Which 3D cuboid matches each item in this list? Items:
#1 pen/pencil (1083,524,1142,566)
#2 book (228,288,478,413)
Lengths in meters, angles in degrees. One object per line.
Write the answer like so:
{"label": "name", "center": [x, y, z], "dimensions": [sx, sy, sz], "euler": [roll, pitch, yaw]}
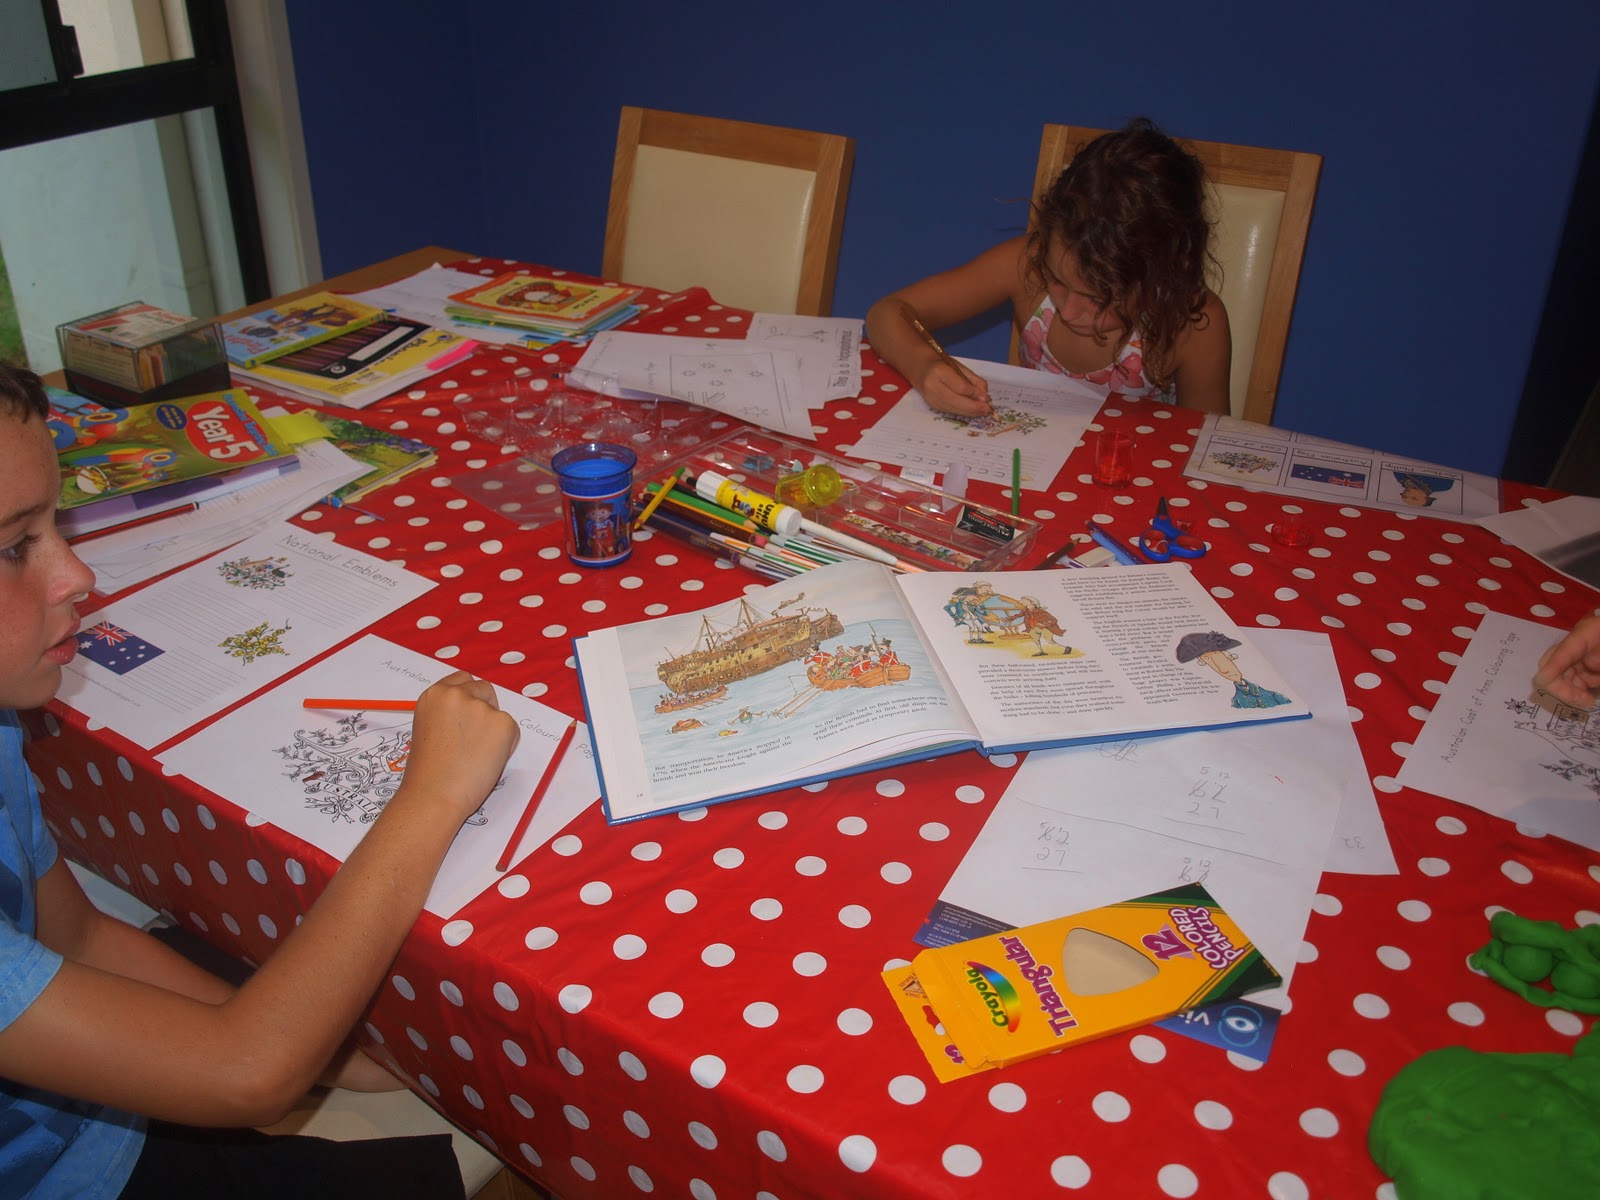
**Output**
{"label": "pen/pencil", "center": [0.375, -0.067, 1.274], "dimensions": [0.023, 0.016, 0.075], "euler": [-10, 33, -19]}
{"label": "book", "center": [-0.695, -0.391, 1.645], "dimensions": [0.349, 0.040, 0.233], "euler": [21, 38, 24]}
